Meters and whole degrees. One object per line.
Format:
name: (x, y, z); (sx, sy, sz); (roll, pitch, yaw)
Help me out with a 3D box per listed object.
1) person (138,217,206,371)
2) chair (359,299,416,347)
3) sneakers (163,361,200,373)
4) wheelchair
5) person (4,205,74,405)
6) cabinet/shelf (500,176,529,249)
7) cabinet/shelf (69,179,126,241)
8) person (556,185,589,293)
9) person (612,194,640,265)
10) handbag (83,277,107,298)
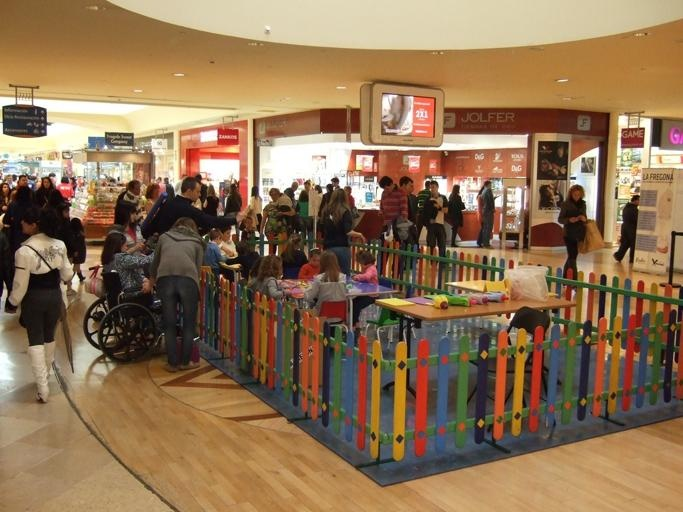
person: (-1.868, 0.424, 6.242); (0.592, 1.700, 0.367); (-2, 8, -21)
chair: (0.624, 0.737, 6.668); (0.445, 0.720, 0.400); (-6, 6, 11)
sneakers: (-1.839, 1.203, 6.270); (0.367, 0.149, 0.137); (-4, 8, -29)
wheelchair: (-2.603, 0.686, 6.779); (1.116, 1.045, 1.092); (-1, 4, -7)
person: (-2.963, 0.455, 5.367); (0.332, 1.876, 0.575); (4, 8, 22)
cabinet/shelf: (5.177, -1.355, 16.647); (0.664, 2.089, 1.077); (1, 8, 3)
cabinet/shelf: (-7.830, -1.524, 17.280); (2.455, 1.305, 3.648); (-2, 8, -22)
person: (4.047, -0.504, 9.537); (0.472, 1.462, 0.542); (1, 8, 3)
person: (7.109, -0.663, 13.670); (0.456, 1.736, 1.208); (5, 9, 27)
handbag: (-3.091, 0.385, 6.858); (0.105, 0.199, 0.264); (5, 2, -43)
